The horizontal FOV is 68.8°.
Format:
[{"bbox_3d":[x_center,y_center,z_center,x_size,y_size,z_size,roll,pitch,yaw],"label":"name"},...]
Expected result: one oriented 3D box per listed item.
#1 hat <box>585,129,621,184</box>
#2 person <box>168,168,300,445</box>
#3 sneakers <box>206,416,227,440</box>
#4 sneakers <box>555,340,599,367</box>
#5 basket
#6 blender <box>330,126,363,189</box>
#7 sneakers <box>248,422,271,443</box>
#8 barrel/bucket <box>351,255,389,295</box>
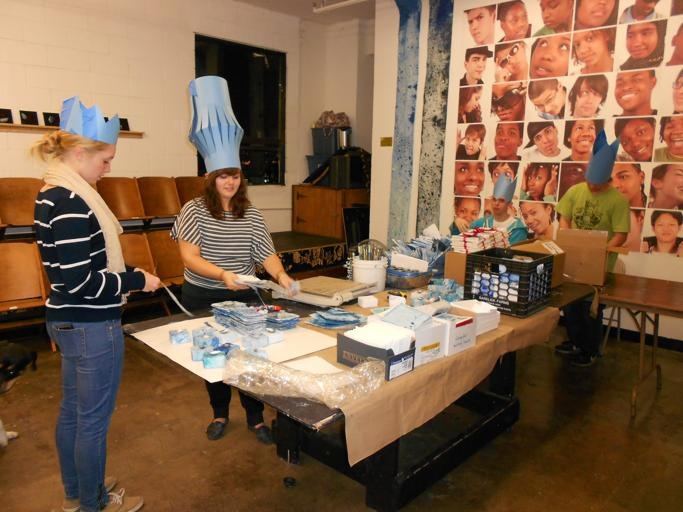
[{"bbox_3d":[2.412,-0.929,4.640,0.262,0.550,0.299,-18,21,-21],"label":"hat"},{"bbox_3d":[-0.644,0.335,3.177,0.998,1.844,0.668,4,10,25],"label":"person"},{"bbox_3d":[-0.855,1.165,3.381,0.085,0.066,0.165,9,15,8],"label":"sneakers"},{"bbox_3d":[2.234,0.936,4.779,0.282,0.105,0.181,12,25,38],"label":"sneakers"},{"bbox_3d":[1.033,0.104,3.045,0.420,0.301,0.413,-9,13,-43],"label":"basket"},{"bbox_3d":[0.093,-1.371,7.795,0.547,0.620,0.457,-3,13,-7],"label":"blender"},{"bbox_3d":[-0.547,1.166,3.365,0.170,0.069,0.089,21,17,38],"label":"sneakers"},{"bbox_3d":[0.209,0.123,3.354,0.190,0.196,0.186,4,-1,0],"label":"barrel/bucket"}]
